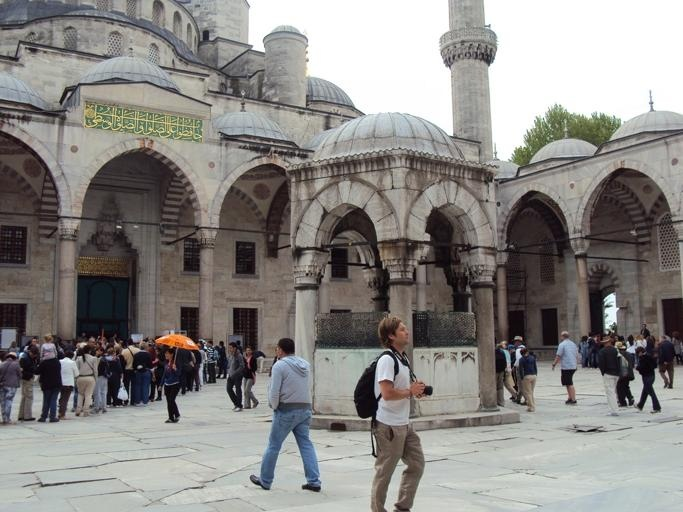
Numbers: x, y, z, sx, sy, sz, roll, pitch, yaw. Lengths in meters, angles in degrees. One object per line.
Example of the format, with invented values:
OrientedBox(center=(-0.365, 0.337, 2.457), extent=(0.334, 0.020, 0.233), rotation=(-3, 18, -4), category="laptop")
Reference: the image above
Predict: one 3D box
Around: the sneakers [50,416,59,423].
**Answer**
OrientedBox(center=(-5.471, 3.085, 14.136), extent=(0.156, 0.108, 0.086), rotation=(-4, 3, -11), category="sneakers")

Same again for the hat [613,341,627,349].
OrientedBox(center=(5.460, 1.744, 14.644), extent=(0.266, 0.093, 0.281), rotation=(2, -3, -1), category="hat")

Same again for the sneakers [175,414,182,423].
OrientedBox(center=(-3.045, 2.994, 13.755), extent=(0.112, 0.120, 0.314), rotation=(1, -12, -6), category="sneakers")

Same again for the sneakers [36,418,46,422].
OrientedBox(center=(-5.730, 3.099, 14.142), extent=(0.148, 0.102, 0.088), rotation=(-12, -14, 30), category="sneakers")

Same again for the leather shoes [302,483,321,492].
OrientedBox(center=(-0.372, 2.759, 8.995), extent=(0.237, 0.104, 0.081), rotation=(4, -4, 43), category="leather shoes")

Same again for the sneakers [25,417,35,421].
OrientedBox(center=(-6.054, 3.135, 14.424), extent=(0.156, 0.065, 0.163), rotation=(2, -11, -23), category="sneakers")

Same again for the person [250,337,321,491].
OrientedBox(center=(-0.678, 1.937, 9.191), extent=(0.789, 1.843, 0.335), rotation=(-1, -10, -7), category="person")

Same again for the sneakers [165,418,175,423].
OrientedBox(center=(-3.177, 3.018, 13.701), extent=(0.092, 0.067, 0.169), rotation=(-11, -22, 36), category="sneakers")

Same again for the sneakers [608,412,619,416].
OrientedBox(center=(4.992, 2.880, 13.617), extent=(0.162, 0.066, 0.208), rotation=(-5, -11, 17), category="sneakers")

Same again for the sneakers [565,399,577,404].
OrientedBox(center=(4.743, 2.992, 15.370), extent=(0.095, 0.112, 0.281), rotation=(9, -9, -42), category="sneakers")

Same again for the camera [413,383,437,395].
OrientedBox(center=(0.888, 1.415, 7.936), extent=(0.202, 0.095, 0.123), rotation=(10, -9, -7), category="camera")

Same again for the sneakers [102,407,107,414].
OrientedBox(center=(-4.952, 3.205, 15.494), extent=(0.080, 0.125, 0.084), rotation=(-2, -9, -17), category="sneakers")

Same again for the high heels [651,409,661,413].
OrientedBox(center=(5.938, 2.919, 14.064), extent=(0.175, 0.045, 0.064), rotation=(8, -19, 2), category="high heels")

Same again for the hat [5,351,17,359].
OrientedBox(center=(-6.250, 1.873, 14.026), extent=(0.137, 0.151, 0.178), rotation=(-1, -31, -19), category="hat")

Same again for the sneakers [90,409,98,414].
OrientedBox(center=(-5.150, 3.205, 15.440), extent=(0.086, 0.089, 0.153), rotation=(9, -18, -38), category="sneakers")

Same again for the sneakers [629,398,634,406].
OrientedBox(center=(5.762, 2.887, 14.791), extent=(0.052, 0.114, 0.081), rotation=(8, -20, 34), category="sneakers")

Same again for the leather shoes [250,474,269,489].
OrientedBox(center=(-1.023, 2.753, 9.089), extent=(0.283, 0.164, 0.127), rotation=(-9, -12, 35), category="leather shoes")
